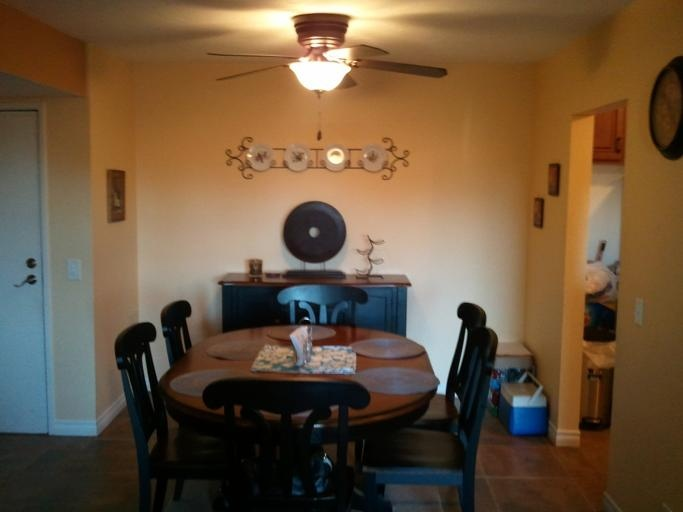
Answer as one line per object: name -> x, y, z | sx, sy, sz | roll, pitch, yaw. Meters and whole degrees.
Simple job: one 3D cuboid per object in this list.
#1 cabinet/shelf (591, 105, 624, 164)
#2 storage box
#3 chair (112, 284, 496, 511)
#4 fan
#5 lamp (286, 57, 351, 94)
cabinet/shelf -> 2.177, -0.979, 4.628 | 0.303, 0.416, 0.246 | 2, 2, 6
storage box -> 1.403, 1.131, 4.392 | 0.310, 0.435, 0.285 | 2, 2, -6
chair -> -0.297, 0.918, 3.051 | 1.717, 1.197, 1.427 | 2, 2, -8
fan -> -0.099, -1.330, 3.678 | 1.374, 0.362, 1.565 | 8, 15, 20
lamp -> -0.142, -1.141, 3.558 | 0.499, 0.193, 0.500 | 2, 8, 4
